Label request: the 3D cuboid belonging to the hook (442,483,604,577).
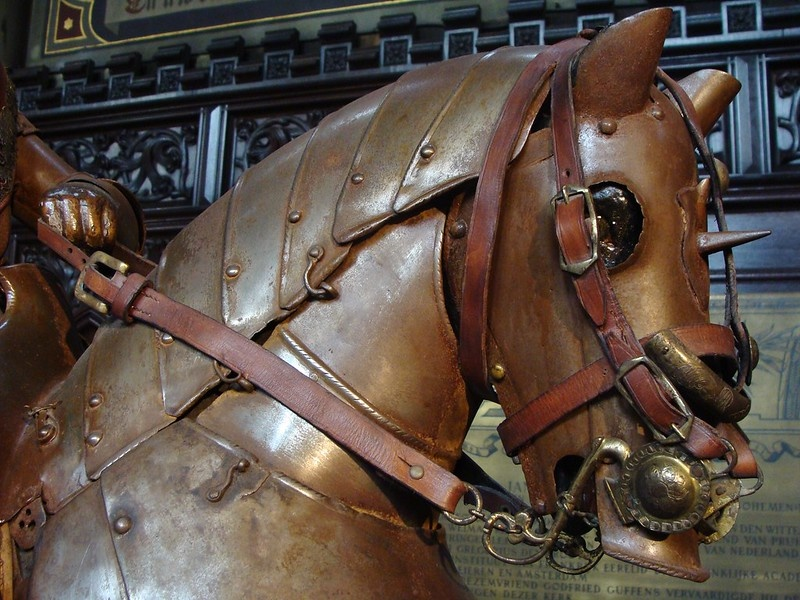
[{"bbox_3d":[0.279,0.440,2.921,0.249,0.078,0.306,-23,18,-31],"label":"hook"}]
